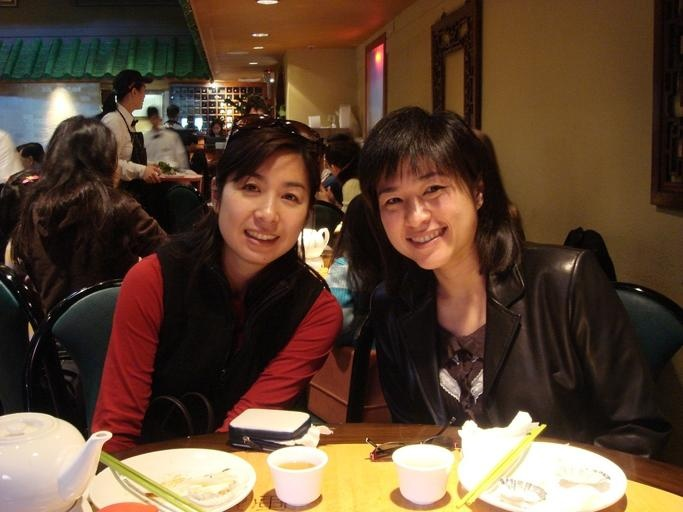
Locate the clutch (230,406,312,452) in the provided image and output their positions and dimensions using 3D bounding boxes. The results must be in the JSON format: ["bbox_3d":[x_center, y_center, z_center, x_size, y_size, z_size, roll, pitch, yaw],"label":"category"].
[{"bbox_3d":[-0.177,0.429,1.312,0.197,0.057,0.116,3,13,13],"label":"clutch"}]

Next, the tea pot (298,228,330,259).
[{"bbox_3d":[-0.170,-0.086,3.457,0.146,0.171,0.200,-2,-8,27],"label":"tea pot"}]

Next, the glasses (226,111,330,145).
[{"bbox_3d":[-0.227,-0.440,1.735,0.280,0.103,0.137,-3,17,4],"label":"glasses"}]

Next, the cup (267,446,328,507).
[{"bbox_3d":[-0.095,0.465,1.121,0.126,0.091,0.103,0,12,1],"label":"cup"}]
